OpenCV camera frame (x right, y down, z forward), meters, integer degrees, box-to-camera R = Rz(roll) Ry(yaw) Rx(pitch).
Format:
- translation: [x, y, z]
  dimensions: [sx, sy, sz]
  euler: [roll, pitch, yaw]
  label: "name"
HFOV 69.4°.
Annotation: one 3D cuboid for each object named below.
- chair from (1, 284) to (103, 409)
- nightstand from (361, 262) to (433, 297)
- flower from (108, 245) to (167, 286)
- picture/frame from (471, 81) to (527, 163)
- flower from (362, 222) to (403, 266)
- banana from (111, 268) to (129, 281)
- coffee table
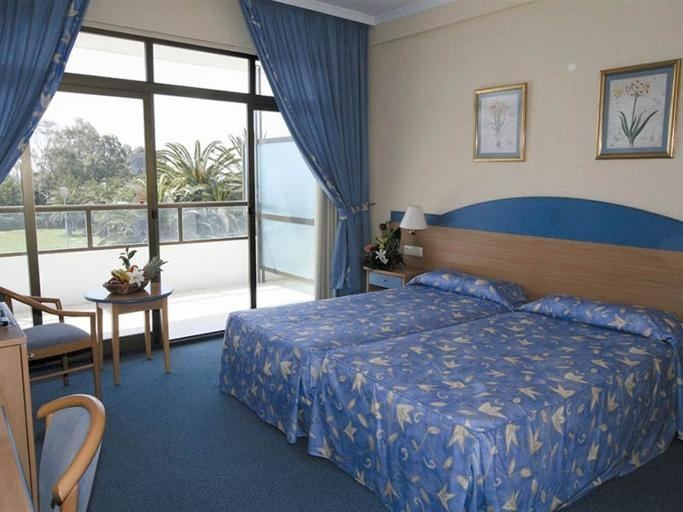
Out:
- translation: [-2.442, 0.716, 4.159]
  dimensions: [0.630, 0.947, 1.067]
  euler: [-9, 17, -33]
  label: "chair"
- translation: [0.623, 0.146, 5.575]
  dimensions: [0.348, 0.508, 0.473]
  euler: [-5, 10, -38]
  label: "nightstand"
- translation: [-1.878, 0.108, 4.624]
  dimensions: [0.578, 0.348, 0.510]
  euler: [-5, 12, -3]
  label: "flower"
- translation: [1.567, -1.326, 4.814]
  dimensions: [0.063, 0.963, 0.737]
  euler: [-6, 7, -44]
  label: "picture/frame"
- translation: [0.489, -0.105, 5.774]
  dimensions: [0.447, 0.540, 0.497]
  euler: [0, 14, 2]
  label: "flower"
- translation: [-1.989, 0.154, 4.456]
  dimensions: [0.135, 0.059, 0.103]
  euler: [27, -1, -17]
  label: "banana"
- translation: [-1.963, 0.717, 4.623]
  dimensions: [0.720, 0.833, 0.756]
  euler: [0, 9, -11]
  label: "coffee table"
